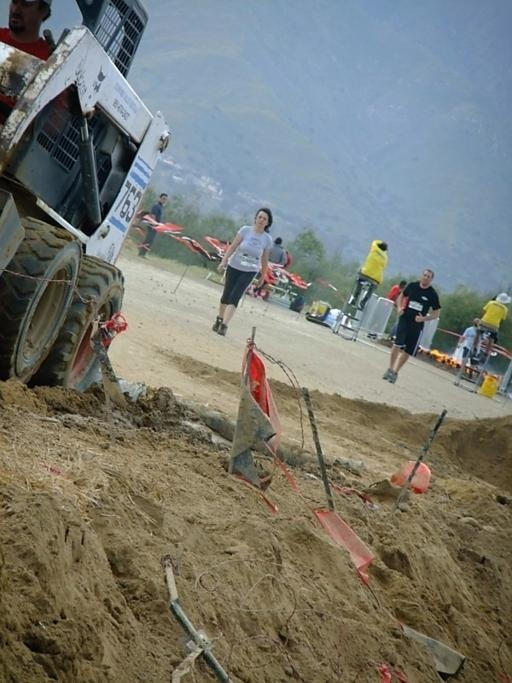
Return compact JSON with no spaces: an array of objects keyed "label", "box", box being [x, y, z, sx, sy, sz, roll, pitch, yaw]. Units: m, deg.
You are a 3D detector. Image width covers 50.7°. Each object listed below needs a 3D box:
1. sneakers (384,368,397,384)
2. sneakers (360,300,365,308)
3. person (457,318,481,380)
[{"label":"sneakers","box":[2.982,0.772,11.973,0.214,0.178,0.397,10,-33,10]},{"label":"sneakers","box":[3.482,-1.242,17.823,0.062,0.227,0.166,12,4,-15]},{"label":"person","box":[7.642,0.176,19.602,0.785,1.989,0.763,10,4,3]}]
